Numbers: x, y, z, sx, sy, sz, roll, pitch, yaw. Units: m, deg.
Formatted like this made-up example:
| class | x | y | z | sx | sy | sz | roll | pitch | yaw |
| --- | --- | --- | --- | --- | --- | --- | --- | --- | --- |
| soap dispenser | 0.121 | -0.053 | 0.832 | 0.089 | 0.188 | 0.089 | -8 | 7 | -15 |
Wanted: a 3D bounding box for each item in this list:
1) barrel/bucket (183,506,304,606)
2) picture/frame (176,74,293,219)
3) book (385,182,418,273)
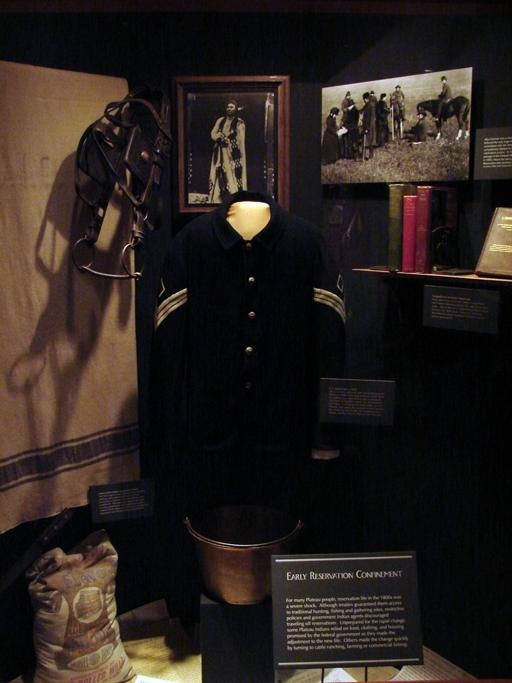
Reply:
| class | x | y | z | sx | sy | sz | roll | pitch | yaw |
| --- | --- | --- | --- | --- | --- | --- | --- | --- | --- |
| barrel/bucket | -0.038 | 0.470 | 1.478 | 0.177 | 0.188 | 0.222 | -3 | -11 | 26 |
| picture/frame | -0.061 | -0.423 | 1.337 | 0.238 | 0.020 | 0.348 | -3 | -36 | -6 |
| book | 0.300 | -0.253 | 1.353 | 0.085 | 0.236 | 0.194 | 1 | 4 | 8 |
